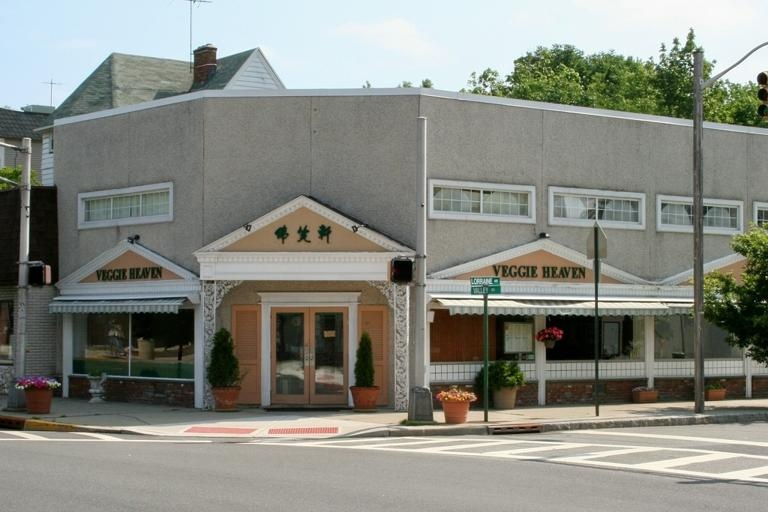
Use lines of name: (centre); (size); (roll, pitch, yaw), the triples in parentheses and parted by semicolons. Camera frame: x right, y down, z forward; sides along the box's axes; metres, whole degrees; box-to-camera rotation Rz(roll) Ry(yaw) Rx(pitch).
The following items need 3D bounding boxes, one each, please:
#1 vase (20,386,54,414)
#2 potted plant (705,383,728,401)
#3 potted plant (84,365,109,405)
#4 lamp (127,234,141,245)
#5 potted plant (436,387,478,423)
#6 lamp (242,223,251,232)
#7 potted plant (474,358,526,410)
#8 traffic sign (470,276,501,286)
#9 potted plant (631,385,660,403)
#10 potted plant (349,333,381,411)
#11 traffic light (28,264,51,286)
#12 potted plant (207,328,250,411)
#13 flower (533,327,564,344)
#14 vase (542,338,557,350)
vase: (-11.171, 4.774, 38.870); (0.846, 0.627, 0.839); (0, -11, 1)
potted plant: (11.886, 4.929, 42.686); (0.390, 0.648, 0.998); (-10, -14, 42)
potted plant: (-9.899, 4.653, 41.437); (0.882, 1.271, 1.041); (1, -2, -16)
lamp: (-8.712, -0.548, 41.555); (0.341, 0.237, 0.391); (-3, -5, 35)
potted plant: (2.256, 4.679, 37.026); (1.112, 0.964, 1.104); (2, -15, -3)
lamp: (-4.452, -0.896, 39.126); (0.203, 0.098, 0.278); (7, -18, -14)
potted plant: (3.932, 4.370, 40.564); (1.758, 1.697, 1.765); (-13, -13, 39)
traffic sign: (3.096, 0.818, 36.794); (0.845, 0.233, 0.208); (-2, -10, 9)
potted plant: (9.150, 4.901, 41.807); (0.877, 0.574, 0.376); (1, -10, -8)
potted plant: (-0.629, 3.801, 38.804); (0.830, 2.516, 0.554); (0, -10, -2)
traffic light: (-11.402, 0.670, 39.478); (0.701, 0.681, 0.363); (5, 3, 39)
potted plant: (-5.224, 3.780, 39.112); (1.022, 2.671, 1.067); (2, -10, -15)
flower: (5.674, 2.732, 40.747); (0.659, 0.439, 0.604); (0, 0, -23)
vase: (5.691, 3.100, 40.904); (0.364, 0.248, 0.359); (0, -4, -16)
